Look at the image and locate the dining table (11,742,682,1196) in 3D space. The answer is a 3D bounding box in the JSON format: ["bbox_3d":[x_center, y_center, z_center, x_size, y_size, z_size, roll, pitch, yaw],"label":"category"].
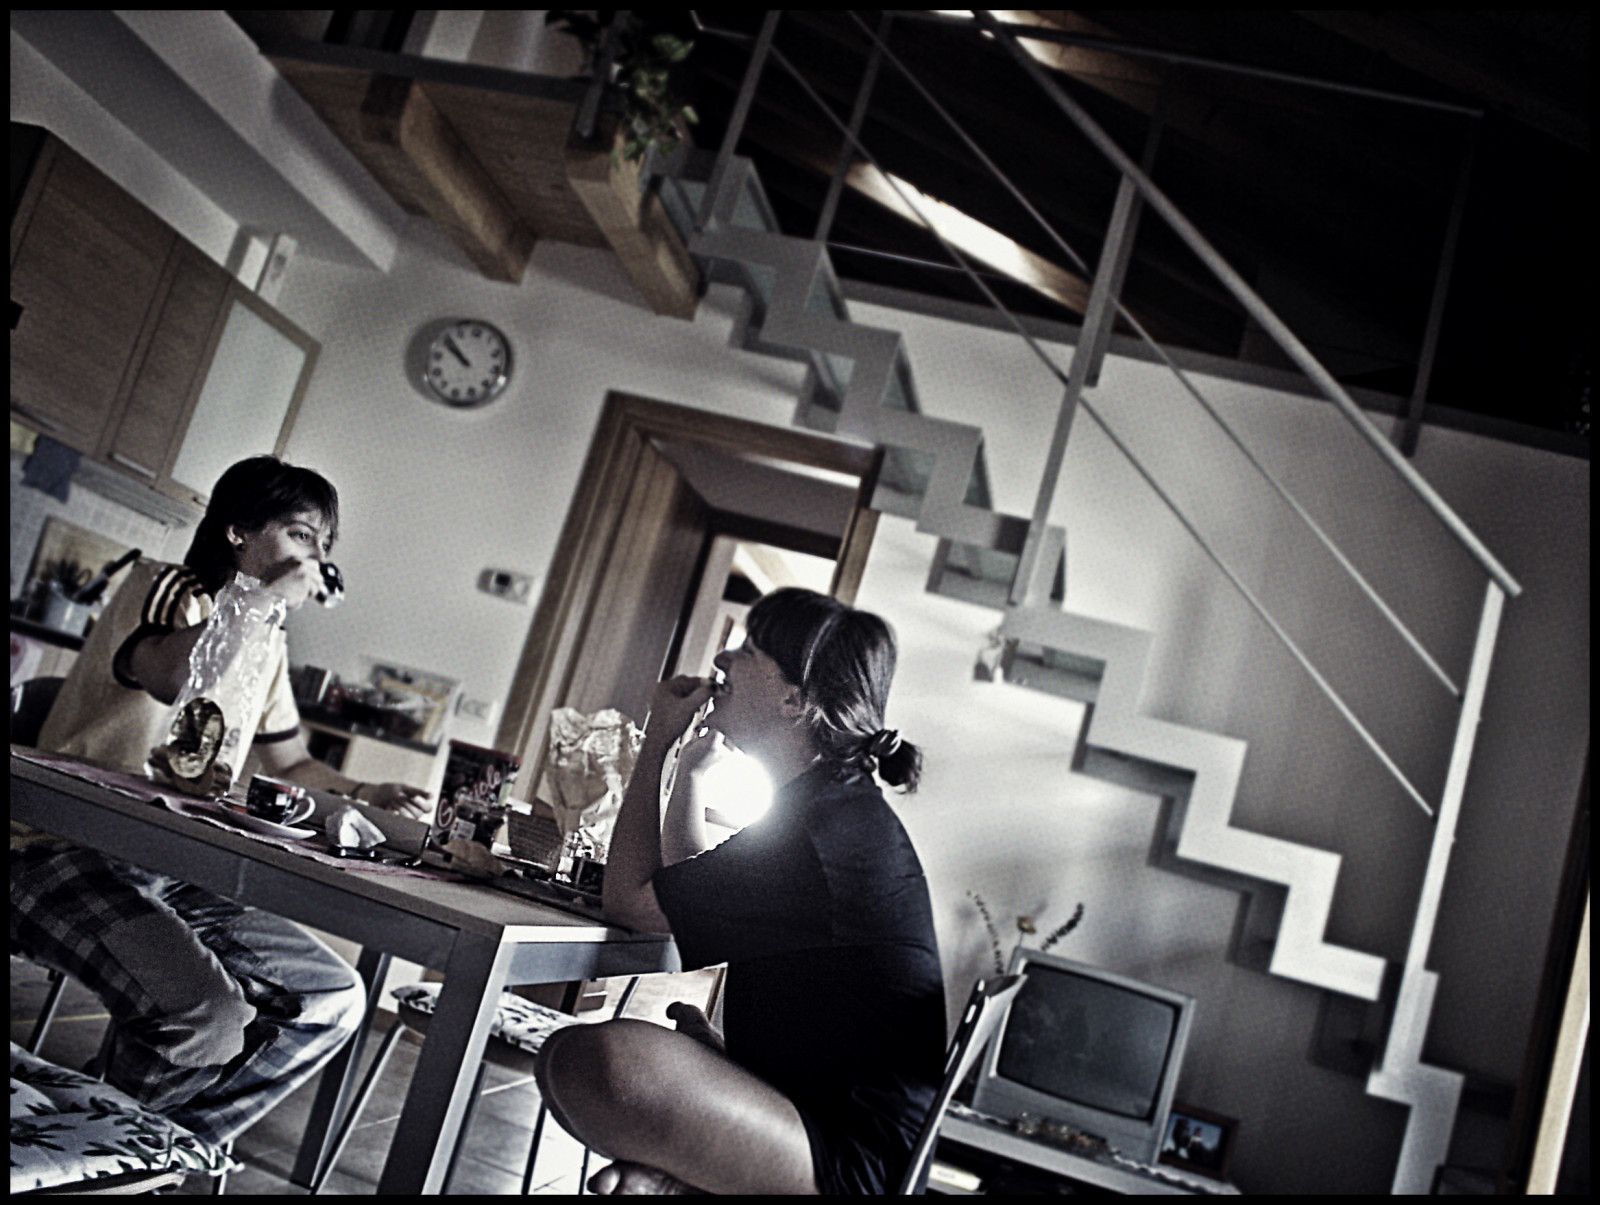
[{"bbox_3d":[-0.751,0.452,1.894,0.678,0.496,0.967,9,-26,39],"label":"dining table"}]

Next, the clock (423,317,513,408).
[{"bbox_3d":[-1.399,-0.992,4.966,0.423,0.252,0.079,12,-14,16],"label":"clock"}]

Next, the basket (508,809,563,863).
[{"bbox_3d":[-0.534,0.471,2.391,0.091,0.089,0.040,8,-28,-4],"label":"basket"}]

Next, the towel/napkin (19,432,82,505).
[{"bbox_3d":[-2.848,-0.506,4.497,0.057,0.224,0.241,12,-6,26],"label":"towel/napkin"}]

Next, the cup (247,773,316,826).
[{"bbox_3d":[-0.891,0.340,2.022,0.109,0.073,0.066,24,-21,-24],"label":"cup"}]
